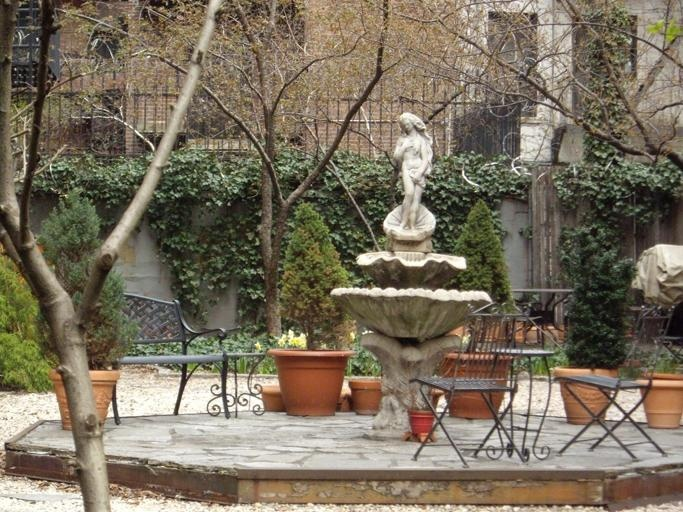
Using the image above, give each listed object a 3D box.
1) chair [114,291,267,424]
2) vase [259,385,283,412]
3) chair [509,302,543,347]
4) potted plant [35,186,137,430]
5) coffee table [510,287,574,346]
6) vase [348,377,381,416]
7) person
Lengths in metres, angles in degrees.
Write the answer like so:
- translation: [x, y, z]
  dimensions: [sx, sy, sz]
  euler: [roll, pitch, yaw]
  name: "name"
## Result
- translation: [-2.461, 1.509, 25.083]
  dimensions: [1.142, 1.808, 2.715]
  euler: [-2, -1, 43]
  name: "chair"
- translation: [-1.098, 2.189, 26.014]
  dimensions: [0.353, 0.271, 0.361]
  euler: [0, -6, -5]
  name: "vase"
- translation: [3.069, 1.136, 28.286]
  dimensions: [0.745, 0.926, 0.669]
  euler: [0, -7, 1]
  name: "chair"
- translation: [-3.699, 0.760, 24.199]
  dimensions: [1.350, 3.385, 1.056]
  euler: [0, 3, -12]
  name: "potted plant"
- translation: [3.835, 1.027, 32.314]
  dimensions: [1.236, 1.256, 1.275]
  euler: [0, 1, 4]
  name: "coffee table"
- translation: [0.340, 2.133, 25.786]
  dimensions: [0.496, 0.387, 0.513]
  euler: [0, -8, 2]
  name: "vase"
- translation: [1.030, -1.268, 25.006]
  dimensions: [0.569, 1.722, 0.327]
  euler: [1, 3, 1]
  name: "person"
